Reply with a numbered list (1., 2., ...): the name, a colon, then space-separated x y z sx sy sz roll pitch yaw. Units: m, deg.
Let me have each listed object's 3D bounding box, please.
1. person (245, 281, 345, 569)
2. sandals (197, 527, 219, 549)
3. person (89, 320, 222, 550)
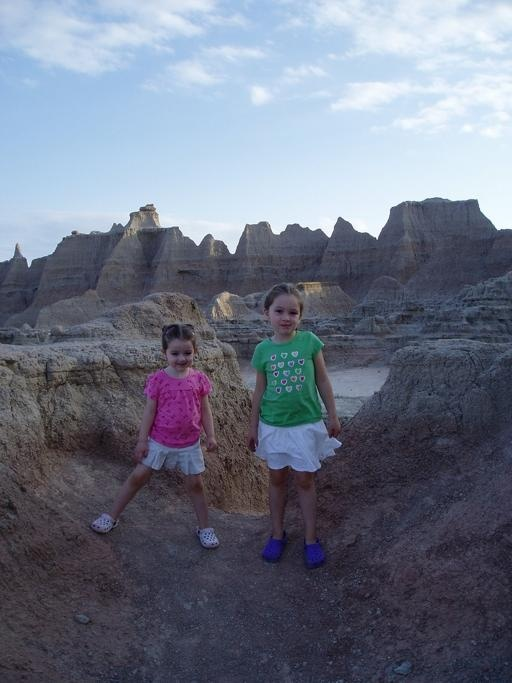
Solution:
1. person: 0.164 0.331 2.427 0.398 1.171 0.404 -1 6 12
2. sandals: -0.207 0.863 2.417 0.056 0.040 0.101 -1 -6 -19
3. person: -0.443 0.414 2.413 0.520 0.983 0.235 -3 6 -10
